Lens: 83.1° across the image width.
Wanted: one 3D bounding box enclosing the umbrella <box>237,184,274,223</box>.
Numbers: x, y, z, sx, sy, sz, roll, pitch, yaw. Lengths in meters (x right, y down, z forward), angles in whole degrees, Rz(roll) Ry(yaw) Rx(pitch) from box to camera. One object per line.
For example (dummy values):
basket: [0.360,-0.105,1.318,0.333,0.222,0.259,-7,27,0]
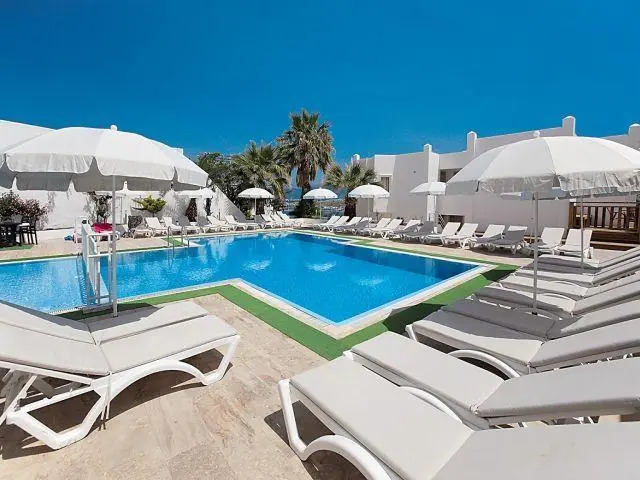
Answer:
umbrella: [-3.600,-2.150,20.916,2.119,2.235,1.998,1,13,0]
